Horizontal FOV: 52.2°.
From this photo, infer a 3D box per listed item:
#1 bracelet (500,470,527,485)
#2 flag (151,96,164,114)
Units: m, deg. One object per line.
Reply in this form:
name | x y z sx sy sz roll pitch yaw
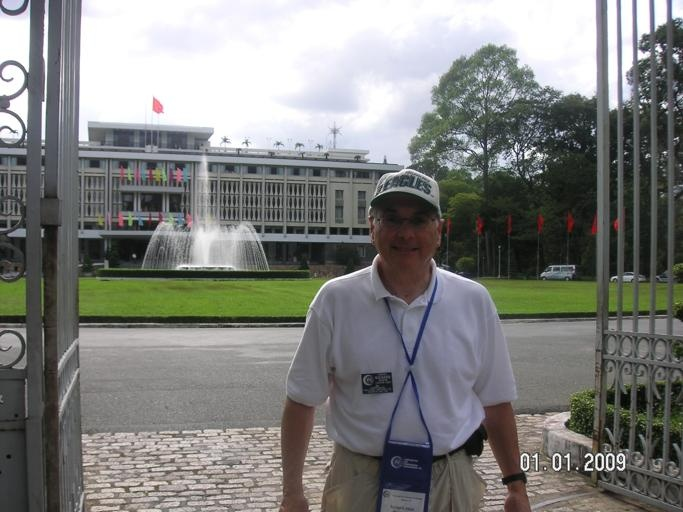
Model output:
bracelet | 0.935 1.211 3.817 0.091 0.056 0.081 -7 -13 -12
flag | -17.960 -14.647 68.195 0.960 1.795 3.384 8 -1 -19
